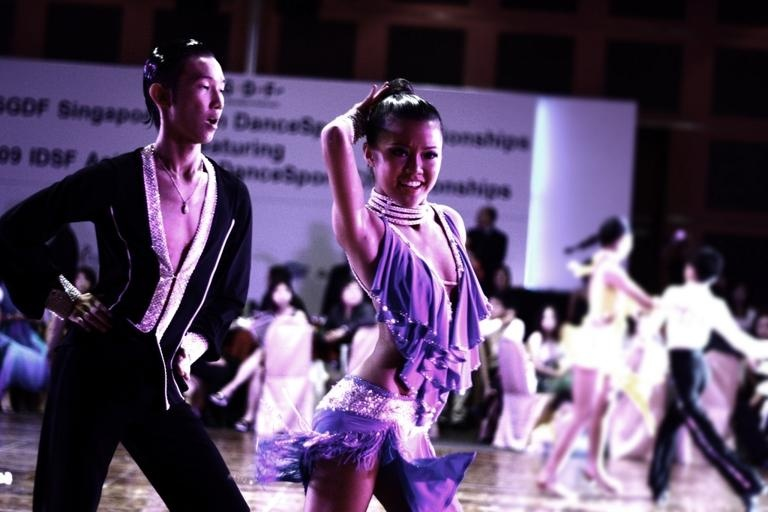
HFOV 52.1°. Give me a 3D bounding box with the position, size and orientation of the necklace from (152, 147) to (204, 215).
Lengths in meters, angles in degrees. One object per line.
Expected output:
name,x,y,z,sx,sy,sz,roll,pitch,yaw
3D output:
necklace,-0.924,-0.308,3.530,0.095,0.396,0.020,-32,7,-8

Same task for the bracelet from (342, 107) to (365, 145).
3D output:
bracelet,-0.123,-0.578,3.462,0.116,0.055,0.150,-33,18,16
